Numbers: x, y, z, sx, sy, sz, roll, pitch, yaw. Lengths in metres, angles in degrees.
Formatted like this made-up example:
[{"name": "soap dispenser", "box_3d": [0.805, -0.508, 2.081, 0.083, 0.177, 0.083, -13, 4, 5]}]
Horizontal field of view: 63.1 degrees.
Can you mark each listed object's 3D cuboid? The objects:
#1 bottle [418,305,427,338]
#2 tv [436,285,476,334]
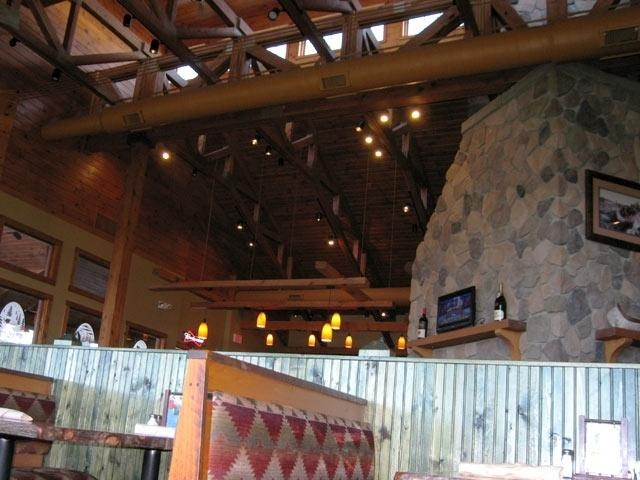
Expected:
[{"name": "bottle", "box_3d": [1.392, 1.101, 7.016, 0.127, 0.453, 0.133, 10, -34, 7]}, {"name": "tv", "box_3d": [1.696, 0.871, 6.444, 0.150, 0.516, 0.714, 10, -25, -19]}]
